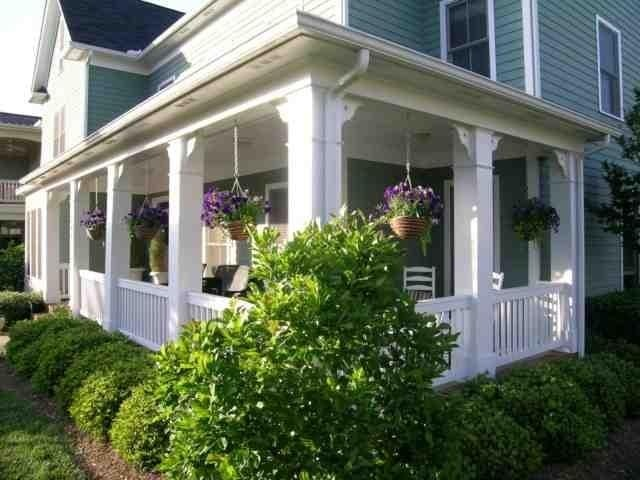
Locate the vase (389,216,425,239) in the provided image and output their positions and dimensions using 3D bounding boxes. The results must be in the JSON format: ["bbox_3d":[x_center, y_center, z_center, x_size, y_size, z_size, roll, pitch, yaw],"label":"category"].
[{"bbox_3d":[1.140,-0.171,8.256,0.336,0.220,0.348,5,-7,-26],"label":"vase"}]

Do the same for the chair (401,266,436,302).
[{"bbox_3d":[1.773,0.771,10.843,0.586,0.650,2.009,-1,0,10],"label":"chair"}]

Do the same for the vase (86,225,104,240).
[{"bbox_3d":[-4.198,-0.162,11.314,0.291,0.333,0.280,0,2,-8],"label":"vase"}]

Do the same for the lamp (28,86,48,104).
[{"bbox_3d":[-7.521,-3.908,16.283,0.422,0.474,0.218,-2,17,-23],"label":"lamp"}]

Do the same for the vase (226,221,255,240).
[{"bbox_3d":[-0.986,-0.128,7.461,0.335,0.261,0.328,-2,-6,17],"label":"vase"}]

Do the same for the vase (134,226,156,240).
[{"bbox_3d":[-2.883,-0.126,9.912,0.312,0.214,0.444,-1,0,-34],"label":"vase"}]

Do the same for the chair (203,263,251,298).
[{"bbox_3d":[-1.630,0.718,10.741,0.560,0.897,0.726,-5,-14,31],"label":"chair"}]

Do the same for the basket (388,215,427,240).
[{"bbox_3d":[1.161,-0.128,8.190,0.350,0.214,0.348,6,-7,-44],"label":"basket"}]

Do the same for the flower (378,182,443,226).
[{"bbox_3d":[1.153,-0.562,8.346,0.525,0.391,0.539,1,-8,-15],"label":"flower"}]

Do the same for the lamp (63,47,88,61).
[{"bbox_3d":[-5.181,-3.992,12.948,0.423,0.185,0.840,-1,0,-32],"label":"lamp"}]

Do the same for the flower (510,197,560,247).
[{"bbox_3d":[3.423,-0.331,9.806,0.647,0.773,0.693,-5,9,-33],"label":"flower"}]

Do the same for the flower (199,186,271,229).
[{"bbox_3d":[-1.020,-0.415,7.892,0.682,0.487,0.687,0,1,27],"label":"flower"}]

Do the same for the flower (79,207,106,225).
[{"bbox_3d":[-4.173,-0.427,11.243,0.511,0.302,0.301,-1,0,38],"label":"flower"}]

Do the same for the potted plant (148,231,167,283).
[{"bbox_3d":[-2.735,0.274,10.321,0.283,0.973,0.519,-1,0,-15],"label":"potted plant"}]

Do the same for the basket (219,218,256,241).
[{"bbox_3d":[-1.045,-0.133,7.564,0.348,0.220,0.372,0,-7,-4],"label":"basket"}]

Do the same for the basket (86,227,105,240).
[{"bbox_3d":[-4.175,-0.130,11.277,0.265,0.224,0.257,1,-3,-7],"label":"basket"}]
